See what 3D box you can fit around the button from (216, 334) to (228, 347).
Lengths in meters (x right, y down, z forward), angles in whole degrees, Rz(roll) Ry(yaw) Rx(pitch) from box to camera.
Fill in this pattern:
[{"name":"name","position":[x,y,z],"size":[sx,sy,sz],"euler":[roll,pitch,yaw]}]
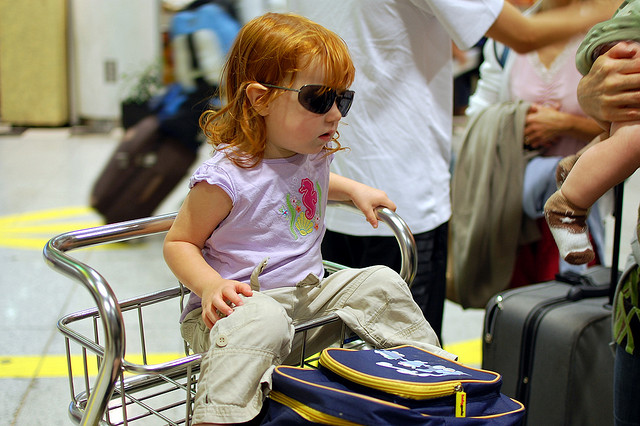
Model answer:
[{"name":"button","position":[-0.316,0.411,2.180],"size":[0.038,0.032,0.025],"euler":[-4,18,6]}]

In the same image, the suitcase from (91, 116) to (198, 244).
[{"name":"suitcase","position":[-1.304,-0.317,4.939],"size":[0.985,0.804,0.279],"euler":[7,21,33]}]

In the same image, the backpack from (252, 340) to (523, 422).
[{"name":"backpack","position":[0.189,0.556,2.212],"size":[0.491,0.185,0.399],"euler":[2,6,27]}]
